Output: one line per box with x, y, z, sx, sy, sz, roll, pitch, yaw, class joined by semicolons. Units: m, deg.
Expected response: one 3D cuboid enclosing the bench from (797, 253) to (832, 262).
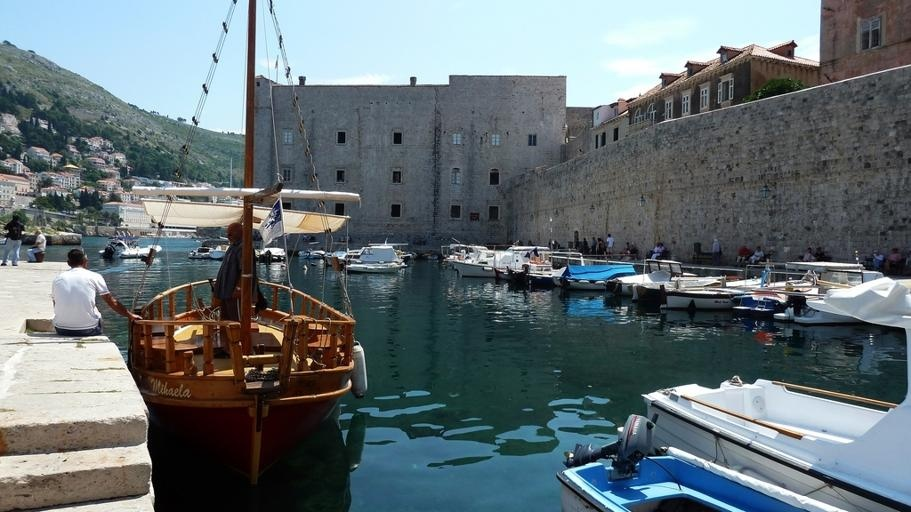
14.987;0.048;30.007;1.327;0.292;1.239;2;1;40;bench

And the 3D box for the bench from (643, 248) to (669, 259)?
10.159;-0.084;35.957;0.598;0.627;0.785;-2;7;-28;bench

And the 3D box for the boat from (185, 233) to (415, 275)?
-8.098;-0.064;41.788;10.079;1.340;2.317;3;8;4;boat

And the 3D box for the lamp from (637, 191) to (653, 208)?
10.028;-2.949;37.667;0.236;0.601;1.380;1;1;-12;lamp

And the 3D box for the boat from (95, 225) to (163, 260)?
-24.229;-0.955;53.786;3.220;1.880;4.295;15;9;17;boat
